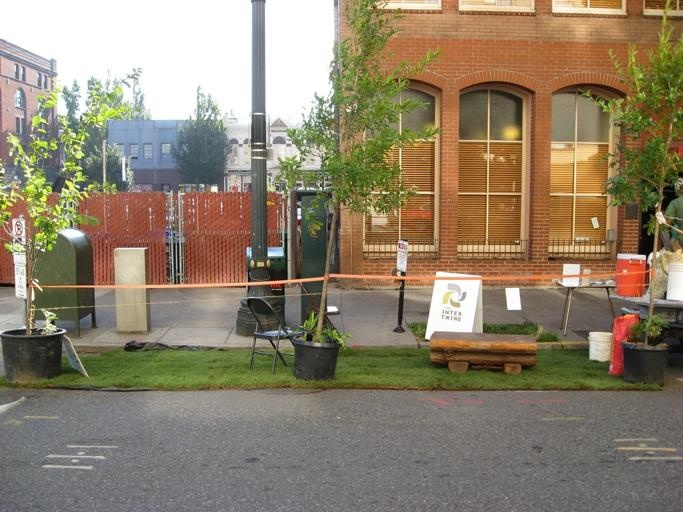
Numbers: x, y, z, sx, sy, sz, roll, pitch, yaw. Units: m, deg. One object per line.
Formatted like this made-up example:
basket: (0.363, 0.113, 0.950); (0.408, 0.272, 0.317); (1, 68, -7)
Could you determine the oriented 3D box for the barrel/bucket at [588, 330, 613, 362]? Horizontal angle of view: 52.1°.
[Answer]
barrel/bucket: (4.074, 1.454, 11.085); (0.405, 0.445, 0.413); (1, -3, 0)
